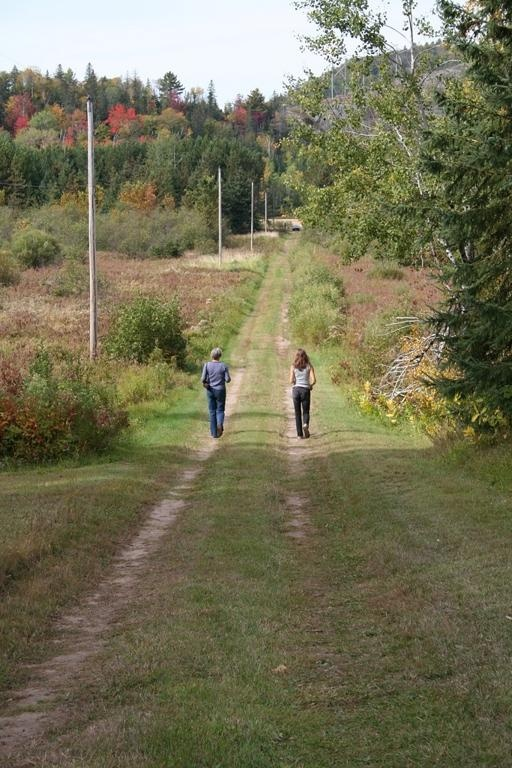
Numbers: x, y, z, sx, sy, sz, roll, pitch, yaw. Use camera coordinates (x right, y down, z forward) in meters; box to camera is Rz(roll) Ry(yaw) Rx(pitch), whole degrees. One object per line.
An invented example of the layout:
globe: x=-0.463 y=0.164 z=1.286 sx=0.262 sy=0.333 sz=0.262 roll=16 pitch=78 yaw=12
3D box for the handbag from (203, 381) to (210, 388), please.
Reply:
handbag: x=-0.867 y=0.015 z=16.991 sx=0.068 sy=0.112 sz=0.047 roll=-8 pitch=0 yaw=8

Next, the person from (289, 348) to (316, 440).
person: x=0.825 y=0.143 z=17.009 sx=0.386 sy=1.574 sz=0.848 roll=0 pitch=6 yaw=1

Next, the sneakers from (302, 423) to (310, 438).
sneakers: x=0.893 y=0.814 z=16.923 sx=0.081 sy=0.252 sz=0.096 roll=-2 pitch=-1 yaw=9

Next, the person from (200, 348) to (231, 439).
person: x=-0.712 y=0.091 z=17.643 sx=0.469 sy=1.561 sz=1.592 roll=0 pitch=7 yaw=-3
